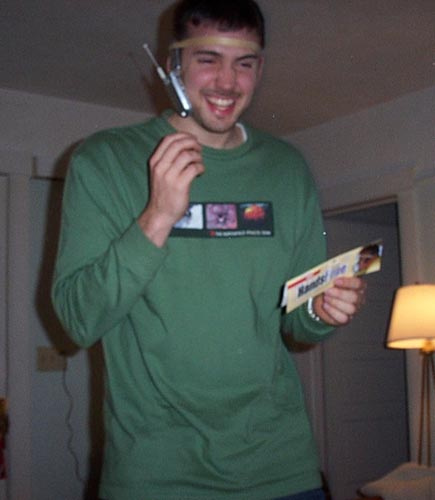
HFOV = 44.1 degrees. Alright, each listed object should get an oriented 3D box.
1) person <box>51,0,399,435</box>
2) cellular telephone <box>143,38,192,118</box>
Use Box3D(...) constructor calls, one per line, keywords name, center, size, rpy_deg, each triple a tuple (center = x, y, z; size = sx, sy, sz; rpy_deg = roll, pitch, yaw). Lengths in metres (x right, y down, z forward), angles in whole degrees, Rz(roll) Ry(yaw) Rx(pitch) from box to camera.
Box3D(name="person", center=(-0.001, -0.090, 1.180), size=(0.669, 0.985, 0.328), rpy_deg=(3, -5, -20))
Box3D(name="cellular telephone", center=(-0.115, -0.402, 1.246), size=(0.110, 0.220, 0.160), rpy_deg=(2, -5, -9))
